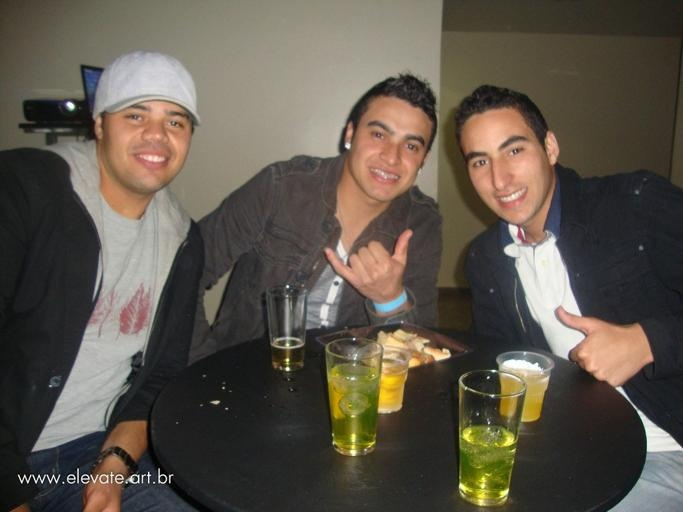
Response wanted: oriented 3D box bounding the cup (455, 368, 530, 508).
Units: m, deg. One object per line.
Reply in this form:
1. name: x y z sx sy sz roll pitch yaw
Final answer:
1. cup: 0.422 0.455 1.462 0.259 0.409 0.252 0 1 0

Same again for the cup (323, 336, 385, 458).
1. cup: 0.004 0.398 1.564 0.245 0.384 0.234 1 3 0

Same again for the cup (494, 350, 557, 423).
1. cup: 0.548 0.403 1.617 0.179 0.189 0.187 -1 11 0
